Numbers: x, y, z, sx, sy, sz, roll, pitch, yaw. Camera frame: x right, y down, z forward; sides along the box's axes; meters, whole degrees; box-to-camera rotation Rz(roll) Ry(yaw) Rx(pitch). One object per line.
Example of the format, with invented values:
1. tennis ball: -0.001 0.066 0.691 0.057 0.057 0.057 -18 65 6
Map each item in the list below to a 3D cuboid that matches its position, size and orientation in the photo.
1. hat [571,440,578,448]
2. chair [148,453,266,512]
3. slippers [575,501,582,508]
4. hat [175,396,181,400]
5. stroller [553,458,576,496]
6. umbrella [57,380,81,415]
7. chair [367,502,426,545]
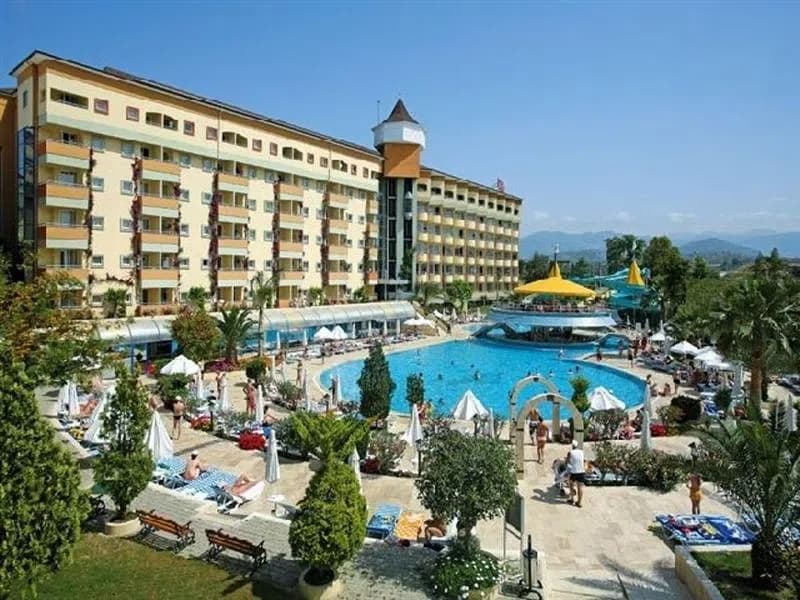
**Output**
1. hat: 6.614 5.485 24.013 0.237 0.283 0.311 7 15 27
2. chair: -7.308 6.546 23.564 4.220 1.760 1.922 0 0 29
3. slippers: 6.589 7.477 23.203 0.280 0.188 0.232 0 0 -3
4. hat: -11.239 4.967 32.084 0.239 0.062 0.251 3 4 6
5. stroller: 6.347 6.849 24.391 0.534 0.755 1.178 1 3 11
6. umbrella: -15.835 4.628 30.239 0.936 1.734 2.336 0 0 -28
7. chair: -0.119 7.615 21.281 1.825 0.721 1.473 0 0 22
